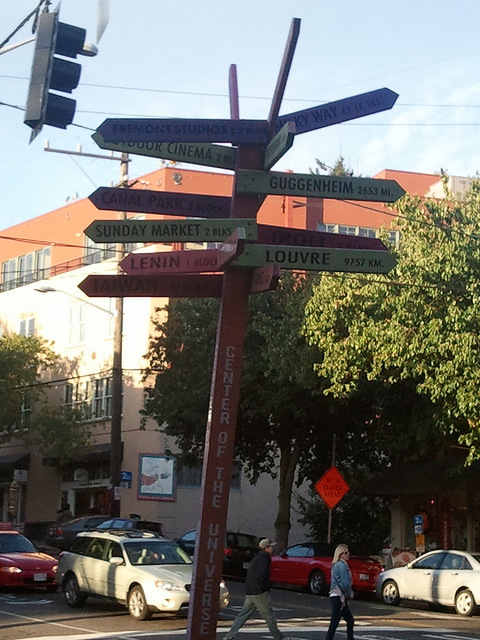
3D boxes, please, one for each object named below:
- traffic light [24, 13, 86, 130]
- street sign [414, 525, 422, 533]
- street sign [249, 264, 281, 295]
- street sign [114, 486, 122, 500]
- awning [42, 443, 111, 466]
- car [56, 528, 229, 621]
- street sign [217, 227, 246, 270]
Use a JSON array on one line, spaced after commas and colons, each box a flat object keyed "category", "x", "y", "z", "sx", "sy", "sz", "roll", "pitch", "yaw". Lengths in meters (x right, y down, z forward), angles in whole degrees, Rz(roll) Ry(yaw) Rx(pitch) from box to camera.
[{"category": "traffic light", "x": -1.929, "y": -2.641, "z": 10.684, "sx": 0.519, "sy": 1.235, "sz": 0.522, "roll": 6, "pitch": -11, "yaw": -16}, {"category": "street sign", "x": 4.649, "y": 5.399, "z": 26.496, "sx": 0.163, "sy": 0.196, "sz": 0.333, "roll": 1, "pitch": -10, "yaw": 8}, {"category": "street sign", "x": 0.271, "y": -0.392, "z": 9.817, "sx": 0.155, "sy": 0.266, "sz": 0.841, "roll": 5, "pitch": -10, "yaw": -13}, {"category": "street sign", "x": -3.708, "y": 5.195, "z": 30.796, "sx": 0.232, "sy": 0.396, "sz": 0.503, "roll": 5, "pitch": -10, "yaw": -12}, {"category": "awning", "x": -7.546, "y": 6.098, "z": 46.696, "sx": 2.361, "sy": 1.007, "sz": 6.168, "roll": 5, "pitch": -10, "yaw": -15}, {"category": "car", "x": -1.715, "y": 4.286, "z": 18.018, "sx": 1.679, "sy": 1.344, "sz": 3.539, "roll": 11, "pitch": -14, "yaw": -35}, {"category": "street sign", "x": -0.078, "y": -0.706, "z": 9.773, "sx": 0.052, "sy": 0.168, "sz": 0.379, "roll": 6, "pitch": -32, "yaw": -25}]
